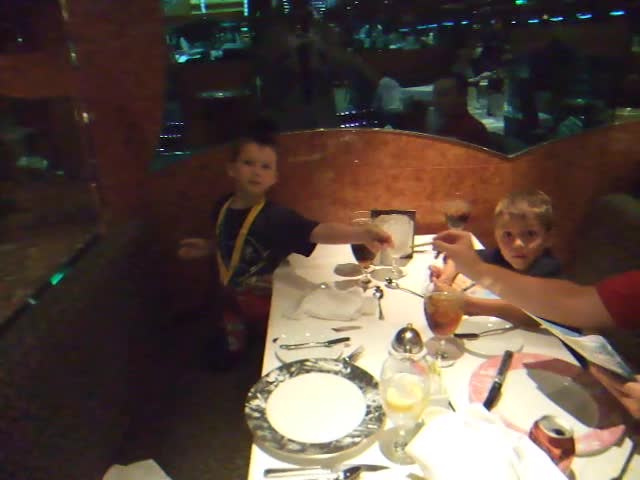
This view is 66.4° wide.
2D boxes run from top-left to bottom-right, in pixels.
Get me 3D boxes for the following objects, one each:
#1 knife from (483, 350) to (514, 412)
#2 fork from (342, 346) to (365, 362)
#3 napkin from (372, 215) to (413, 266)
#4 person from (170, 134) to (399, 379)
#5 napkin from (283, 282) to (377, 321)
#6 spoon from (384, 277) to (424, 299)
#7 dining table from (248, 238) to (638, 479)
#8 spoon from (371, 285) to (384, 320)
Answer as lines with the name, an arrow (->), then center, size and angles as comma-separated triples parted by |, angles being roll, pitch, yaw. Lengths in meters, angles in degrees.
knife -> 0.459, 0.345, 1.230 | 0.041, 0.041, 0.294 | 15, 34, 21
fork -> 0.094, 0.311, 1.324 | 0.021, 0.018, 0.070 | 29, 41, 23
napkin -> 0.275, -0.001, 1.808 | 0.179, 0.173, 0.044 | 6, 6, 32
person -> -0.183, 0.065, 1.865 | 0.972, 0.863, 0.325 | 3, 6, -2
napkin -> 0.033, 0.203, 1.530 | 0.302, 0.033, 0.176 | -11, 27, -15
spoon -> 0.270, 0.159, 1.646 | 0.057, 0.016, 0.172 | -20, 31, -30
dining table -> 0.293, 0.354, 1.234 | 0.561, 0.197, 0.867 | 0, 29, 2
spoon -> 0.185, 0.197, 1.547 | 0.030, 0.032, 0.101 | -1, 52, 6
